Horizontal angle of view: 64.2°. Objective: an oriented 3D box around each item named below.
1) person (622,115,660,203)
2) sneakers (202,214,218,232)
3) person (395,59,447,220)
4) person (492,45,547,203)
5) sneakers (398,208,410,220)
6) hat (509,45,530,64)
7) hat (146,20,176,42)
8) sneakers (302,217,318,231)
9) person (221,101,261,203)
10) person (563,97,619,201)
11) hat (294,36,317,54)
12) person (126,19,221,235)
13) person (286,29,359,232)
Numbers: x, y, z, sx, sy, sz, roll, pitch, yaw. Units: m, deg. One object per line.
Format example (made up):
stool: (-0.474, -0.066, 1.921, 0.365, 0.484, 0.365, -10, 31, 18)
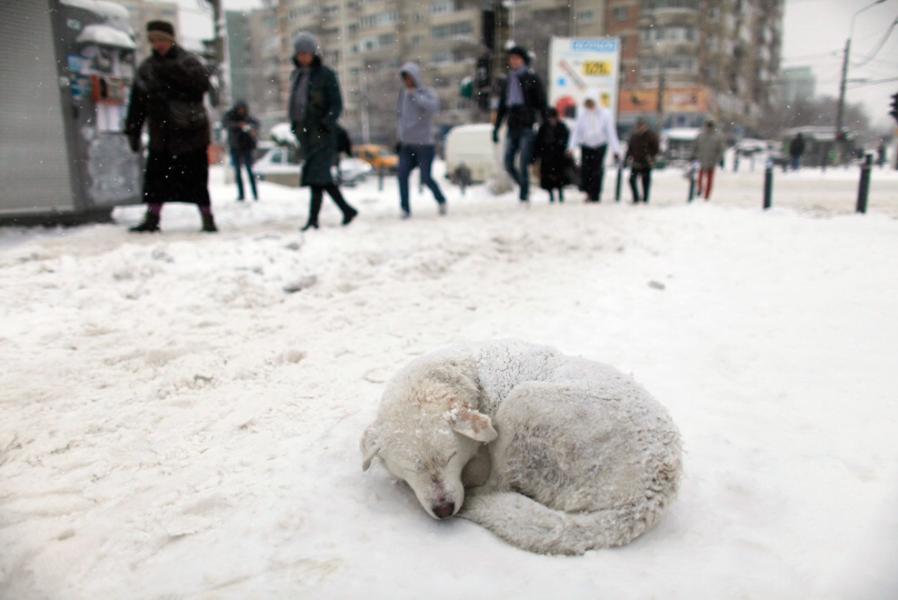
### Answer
person: (3.210, -2.335, 12.011, 0.559, 1.371, 0.810, 0, 13, 6)
sneakers: (-3.086, -0.988, 9.203, 0.264, 0.276, 0.142, 0, 15, -19)
person: (-0.433, -2.217, 9.952, 0.658, 2.087, 0.607, -5, 13, -16)
person: (1.063, -2.648, 11.032, 0.815, 2.373, 0.843, -1, 13, 5)
sneakers: (-0.632, -1.194, 9.908, 0.088, 0.133, 0.129, -1, -7, 3)
hat: (1.040, -3.619, 10.611, 0.195, 0.264, 0.516, 10, 18, 42)
hat: (-3.447, -3.235, 8.583, 0.258, 0.168, 0.266, -4, 19, -18)
sneakers: (-1.767, -0.957, 9.127, 0.273, 0.214, 0.103, 1, 7, -12)
person: (-3.685, -2.675, 12.844, 0.589, 1.747, 0.646, -6, 13, -16)
person: (2.354, -2.504, 11.980, 0.850, 1.713, 0.631, -6, 14, -18)
hat: (-1.784, -3.171, 8.873, 0.316, 0.243, 0.228, -8, 14, -25)
person: (-3.440, -2.105, 8.837, 1.035, 2.561, 0.484, 1, 13, 11)
person: (-1.649, -2.122, 9.034, 0.710, 2.410, 0.606, -5, 13, -12)
